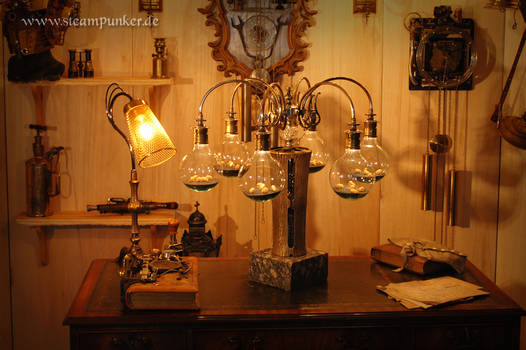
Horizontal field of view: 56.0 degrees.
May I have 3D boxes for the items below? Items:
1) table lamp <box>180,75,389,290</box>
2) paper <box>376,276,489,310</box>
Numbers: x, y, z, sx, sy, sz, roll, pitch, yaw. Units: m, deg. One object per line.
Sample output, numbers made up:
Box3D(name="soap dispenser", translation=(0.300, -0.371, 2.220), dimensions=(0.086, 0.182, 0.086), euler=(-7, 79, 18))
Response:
Box3D(name="table lamp", translation=(0.181, 0.123, 3.387), dimensions=(1.216, 1.371, 1.339), euler=(0, 2, -23))
Box3D(name="paper", translation=(1.041, 0.710, 3.002), dimensions=(0.639, 0.062, 0.265), euler=(-5, 10, -14))
